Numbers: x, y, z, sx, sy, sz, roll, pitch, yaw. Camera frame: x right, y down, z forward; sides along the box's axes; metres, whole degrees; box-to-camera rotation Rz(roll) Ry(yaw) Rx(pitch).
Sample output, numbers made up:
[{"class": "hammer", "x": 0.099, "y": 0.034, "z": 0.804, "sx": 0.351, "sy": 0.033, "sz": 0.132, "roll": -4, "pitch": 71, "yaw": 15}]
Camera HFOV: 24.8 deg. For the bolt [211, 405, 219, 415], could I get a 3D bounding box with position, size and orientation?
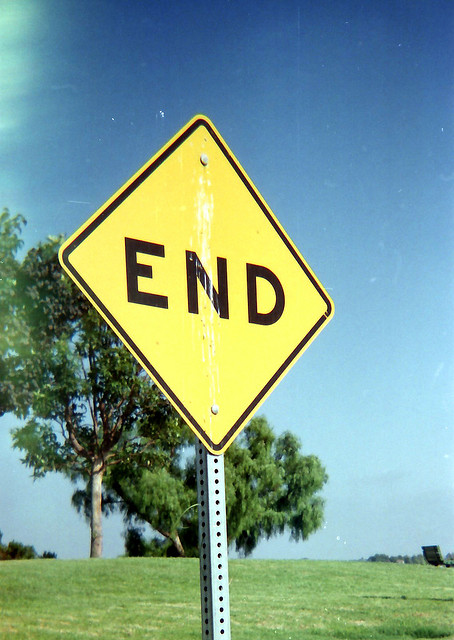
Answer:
[{"class": "bolt", "x": -0.039, "y": 0.273, "z": 3.180, "sx": 0.019, "sy": 0.027, "sz": 0.004, "roll": -1, "pitch": -1, "yaw": -29}]
